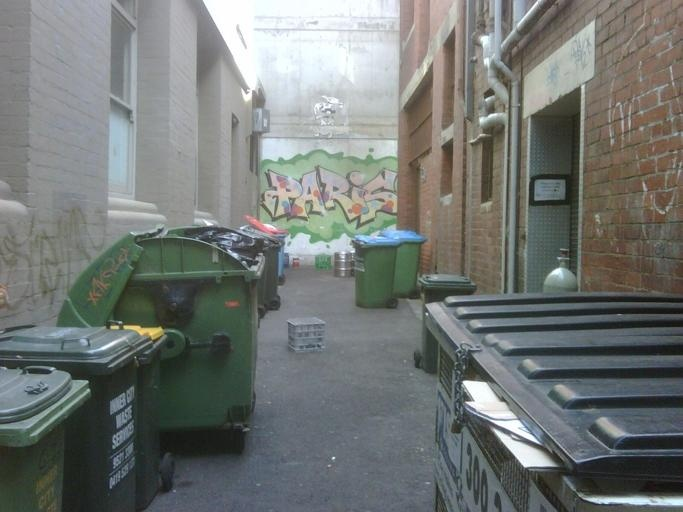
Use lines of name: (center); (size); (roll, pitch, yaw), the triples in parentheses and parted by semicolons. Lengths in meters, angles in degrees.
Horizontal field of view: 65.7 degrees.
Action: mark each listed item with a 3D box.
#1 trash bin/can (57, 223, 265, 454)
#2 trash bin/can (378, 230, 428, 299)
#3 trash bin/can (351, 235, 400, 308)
trash bin/can: (-1.440, 0.488, 4.733); (1.387, 1.844, 2.036); (-1, -1, -6)
trash bin/can: (1.495, 0.166, 11.737); (1.209, 1.971, 1.180); (0, 10, -2)
trash bin/can: (0.674, 0.343, 10.697); (1.175, 1.915, 1.157); (-1, 3, -6)
